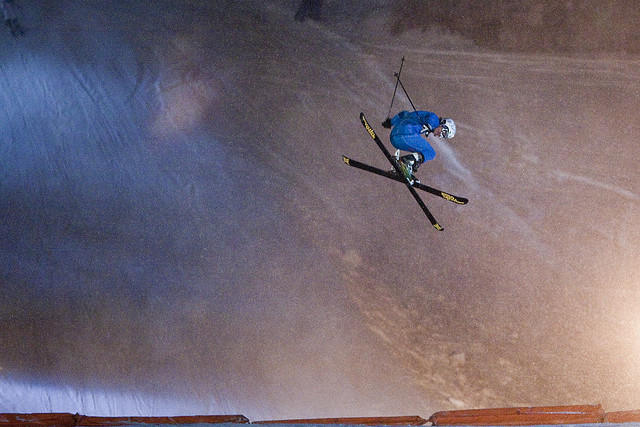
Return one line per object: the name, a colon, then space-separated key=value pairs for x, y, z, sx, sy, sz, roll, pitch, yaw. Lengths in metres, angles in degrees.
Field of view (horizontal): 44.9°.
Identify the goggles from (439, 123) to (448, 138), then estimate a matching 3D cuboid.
goggles: x=3.177 y=-2.085 z=19.894 sx=0.088 sy=0.284 sz=0.199 roll=3 pitch=-2 yaw=-9
